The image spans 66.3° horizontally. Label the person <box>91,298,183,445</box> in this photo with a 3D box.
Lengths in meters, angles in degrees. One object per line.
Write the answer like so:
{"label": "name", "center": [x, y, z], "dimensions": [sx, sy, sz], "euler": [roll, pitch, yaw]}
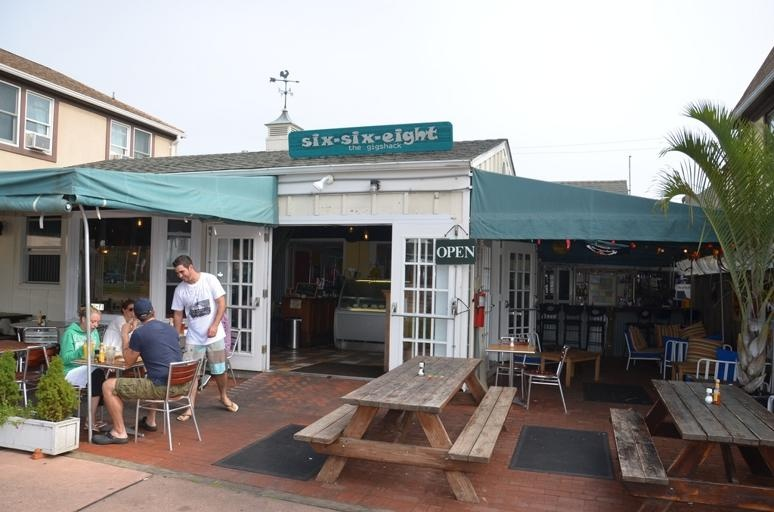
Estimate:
{"label": "person", "center": [-3.408, 1.584, 8.206], "dimensions": [1.098, 1.932, 0.588], "euler": [0, 8, -7]}

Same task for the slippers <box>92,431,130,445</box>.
{"label": "slippers", "center": [-3.809, 2.510, 8.142], "dimensions": [0.369, 0.140, 0.203], "euler": [8, -10, -6]}

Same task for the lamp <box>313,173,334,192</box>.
{"label": "lamp", "center": [-1.180, -1.382, 11.140], "dimensions": [0.412, 0.305, 0.260], "euler": [0, 7, -8]}

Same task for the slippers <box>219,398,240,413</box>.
{"label": "slippers", "center": [-2.504, 2.374, 9.457], "dimensions": [0.163, 0.080, 0.334], "euler": [-8, 8, -38]}

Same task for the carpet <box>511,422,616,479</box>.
{"label": "carpet", "center": [2.440, 2.693, 8.240], "dimensions": [1.328, 0.052, 1.465], "euler": [3, 7, 15]}

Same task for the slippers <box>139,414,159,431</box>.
{"label": "slippers", "center": [-3.510, 2.432, 8.685], "dimensions": [0.374, 0.144, 0.149], "euler": [5, 2, 43]}

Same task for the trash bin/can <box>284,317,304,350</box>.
{"label": "trash bin/can", "center": [-2.262, 1.876, 14.486], "dimensions": [0.658, 0.824, 0.511], "euler": [1, -2, 9]}

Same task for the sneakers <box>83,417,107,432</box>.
{"label": "sneakers", "center": [-4.290, 2.443, 8.644], "dimensions": [0.208, 0.136, 0.520], "euler": [4, -2, -32]}

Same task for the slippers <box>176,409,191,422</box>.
{"label": "slippers", "center": [-3.073, 2.406, 9.033], "dimensions": [0.174, 0.055, 0.335], "euler": [0, -3, -1]}
